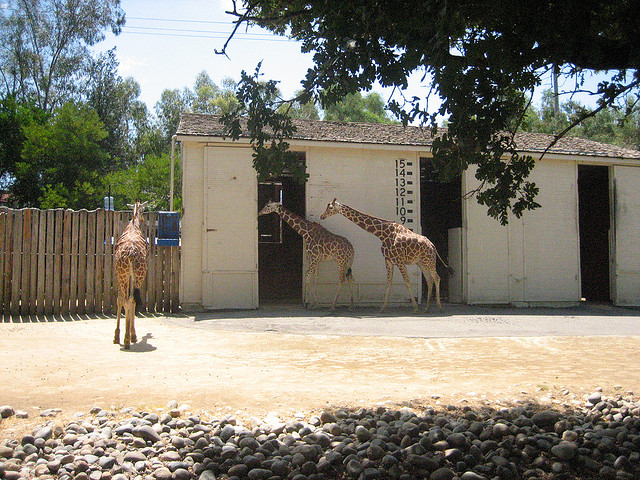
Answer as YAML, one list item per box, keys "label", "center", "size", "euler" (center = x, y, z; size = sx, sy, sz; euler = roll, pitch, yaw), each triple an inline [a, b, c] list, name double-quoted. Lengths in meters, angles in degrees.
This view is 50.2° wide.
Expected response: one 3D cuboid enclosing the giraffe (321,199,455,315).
- label: "giraffe"
  center: [1.530, 0.455, 14.616]
  size: [2.040, 2.335, 1.583]
  euler: [-1, 8, -11]
